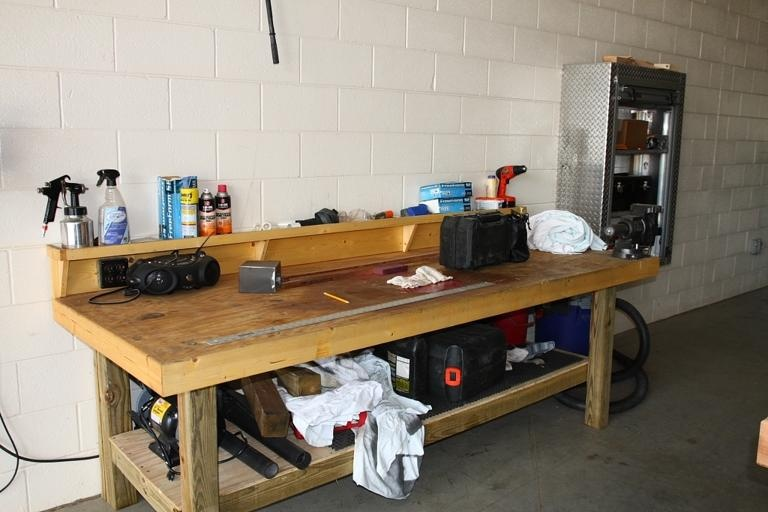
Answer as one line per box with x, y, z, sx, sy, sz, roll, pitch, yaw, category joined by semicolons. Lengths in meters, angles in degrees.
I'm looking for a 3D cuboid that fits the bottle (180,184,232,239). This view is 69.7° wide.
-0.990;-0.236;3.040;0.105;0.274;0.301;4;6;37;bottle

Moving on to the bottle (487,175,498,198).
0.807;-0.524;4.135;0.066;0.158;0.107;3;15;22;bottle

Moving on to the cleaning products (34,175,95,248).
-1.599;-0.229;2.779;0.234;0.348;0.284;-11;16;-29;cleaning products

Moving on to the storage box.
0.487;0.601;3.224;0.356;0.391;0.593;5;11;41;storage box
